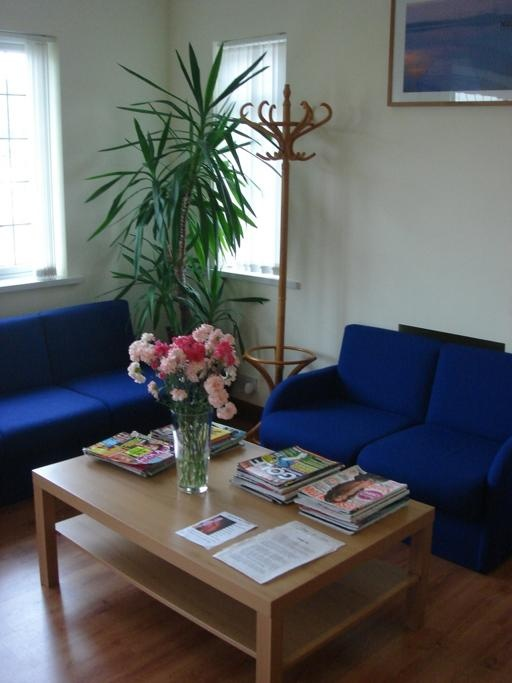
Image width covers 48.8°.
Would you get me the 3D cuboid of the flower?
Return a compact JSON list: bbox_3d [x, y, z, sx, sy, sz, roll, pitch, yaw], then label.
[{"bbox_3d":[-0.200,0.228,1.862,0.356,0.520,0.373,-2,5,9],"label":"flower"}]
